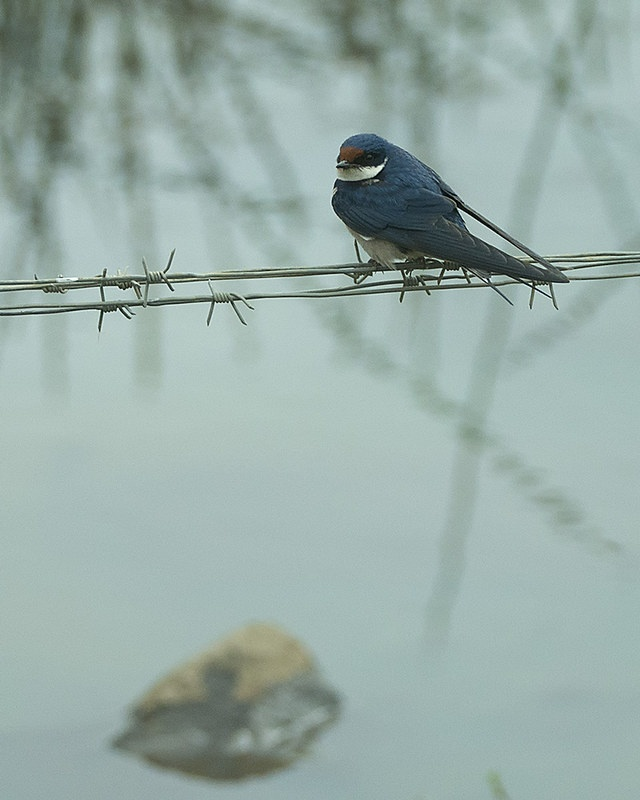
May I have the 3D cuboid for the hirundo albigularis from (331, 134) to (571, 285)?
[{"bbox_3d":[0.512,-0.904,6.029,0.666,1.339,0.391,-33,-46,7],"label":"hirundo albigularis"}]
